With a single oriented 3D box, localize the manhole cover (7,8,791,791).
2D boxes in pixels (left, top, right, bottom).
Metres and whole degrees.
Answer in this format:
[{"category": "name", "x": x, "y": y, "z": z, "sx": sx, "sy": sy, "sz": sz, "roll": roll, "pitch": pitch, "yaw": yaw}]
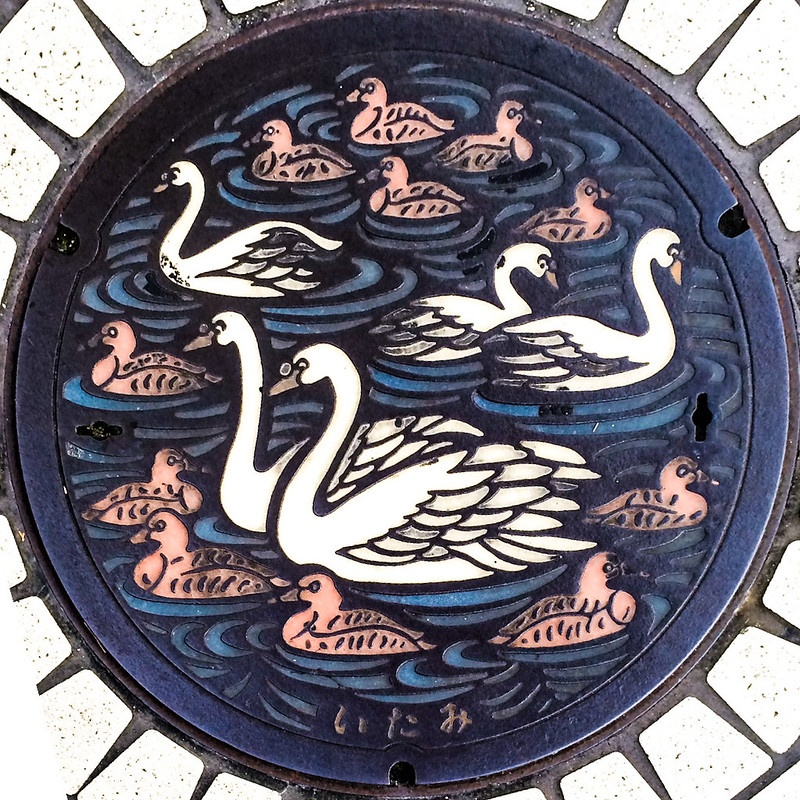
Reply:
[{"category": "manhole cover", "x": 0.019, "y": -0.014, "z": 4.676, "sx": 1.491, "sy": 0.216, "sz": 1.478, "roll": -12, "pitch": 85, "yaw": 1}]
